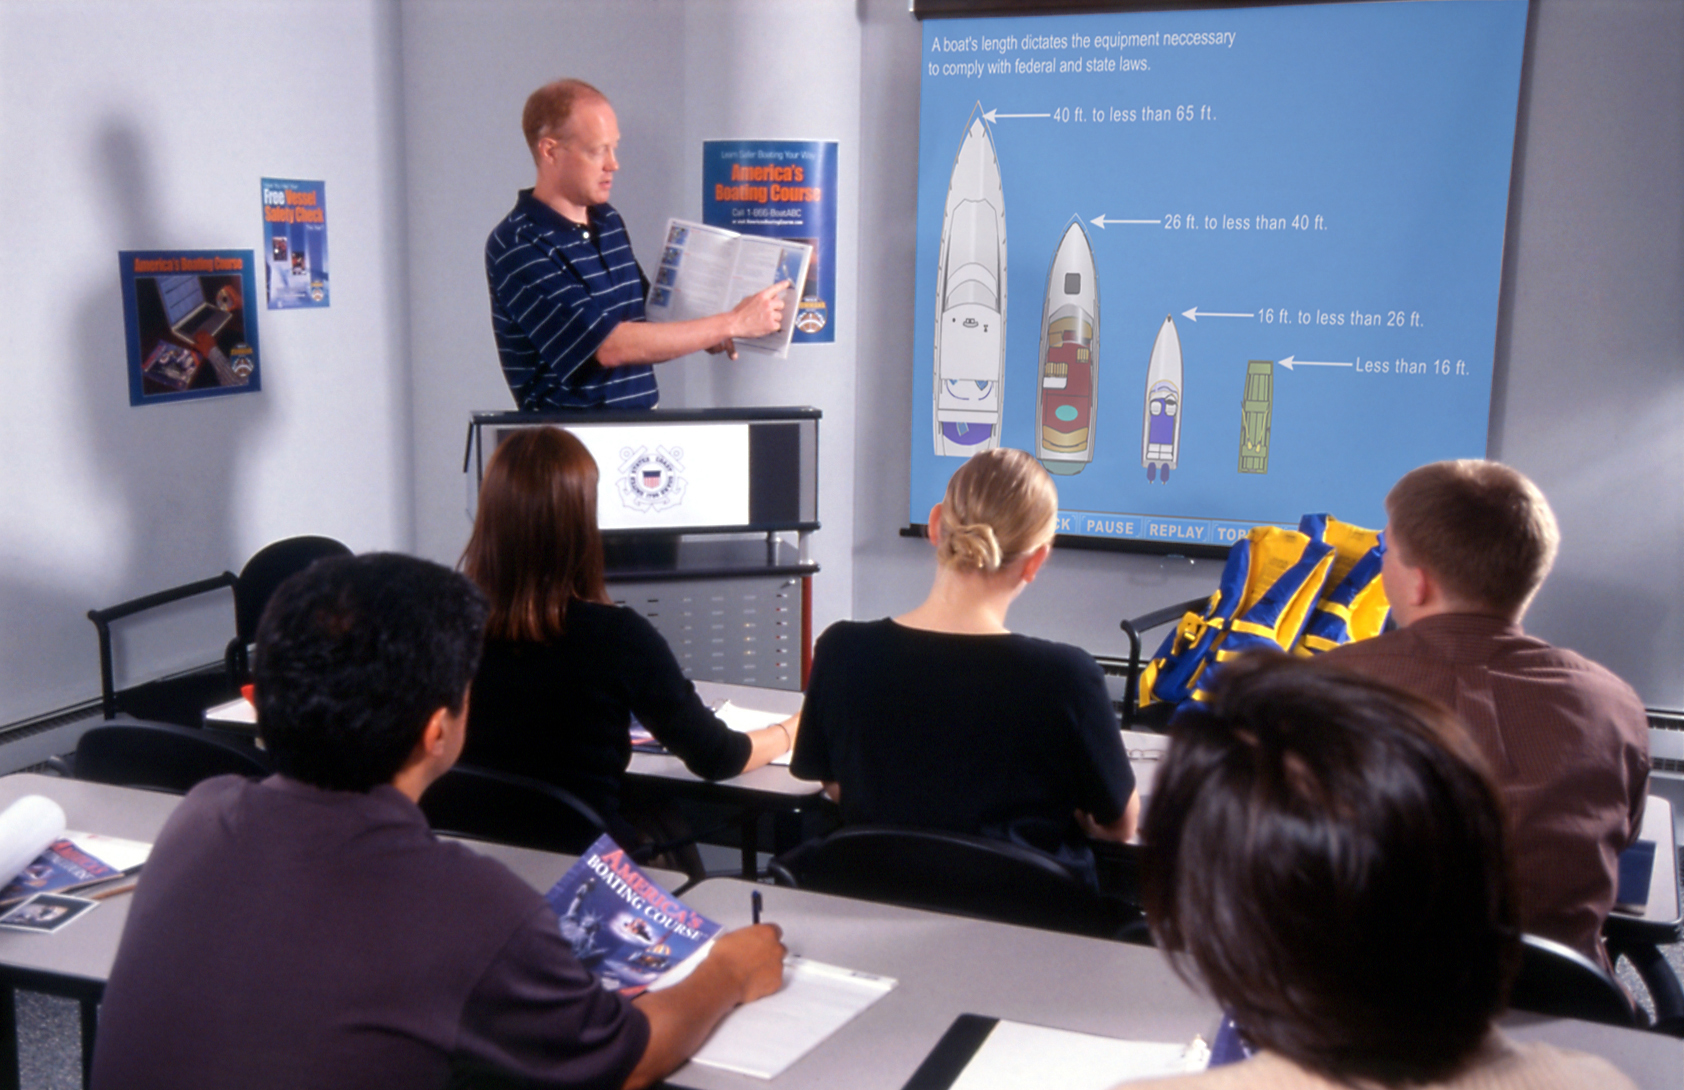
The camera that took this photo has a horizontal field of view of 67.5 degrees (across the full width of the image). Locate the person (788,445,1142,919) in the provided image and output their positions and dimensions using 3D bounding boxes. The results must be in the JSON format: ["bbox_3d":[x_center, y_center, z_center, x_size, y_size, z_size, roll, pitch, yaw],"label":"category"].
[{"bbox_3d":[0.246,0.309,2.514,0.682,0.935,0.666,10,15,25],"label":"person"}]
